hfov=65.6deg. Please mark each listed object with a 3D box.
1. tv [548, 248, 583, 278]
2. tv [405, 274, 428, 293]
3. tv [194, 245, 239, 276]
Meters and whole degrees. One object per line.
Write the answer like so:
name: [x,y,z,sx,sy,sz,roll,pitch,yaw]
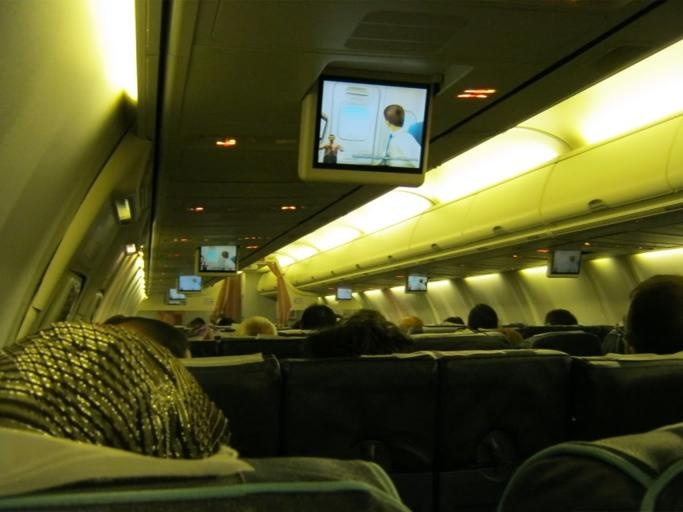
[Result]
tv: [5.138,0.151,12.304,0.791,0.588,0.371,1,2,-18]
tv: [2.777,1.020,19.786,0.953,0.688,0.444,1,6,-16]
tv: [-3.587,0.095,15.284,1.198,0.904,0.400,10,0,-14]
